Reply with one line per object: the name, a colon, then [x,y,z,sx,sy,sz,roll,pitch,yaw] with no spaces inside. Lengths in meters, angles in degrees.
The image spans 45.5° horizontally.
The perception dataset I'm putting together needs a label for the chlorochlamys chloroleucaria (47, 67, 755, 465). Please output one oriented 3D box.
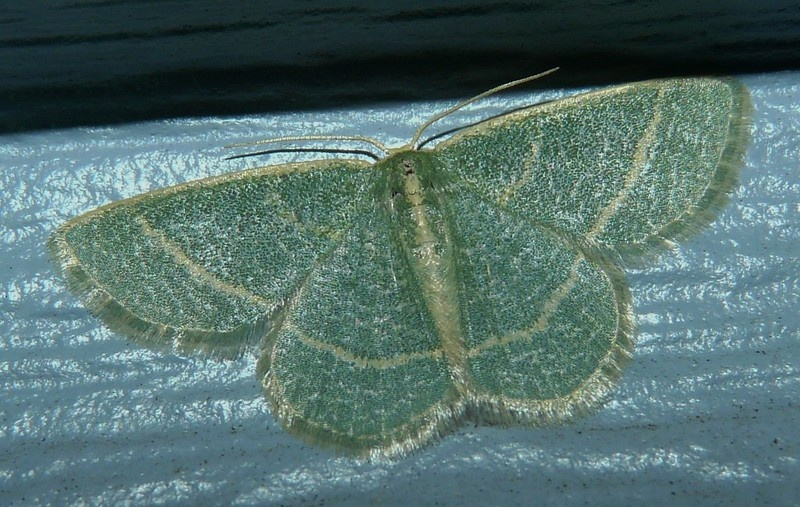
chlorochlamys chloroleucaria: [0.183,0.124,4.747,3.204,1.583,1.062,-14,33,-10]
